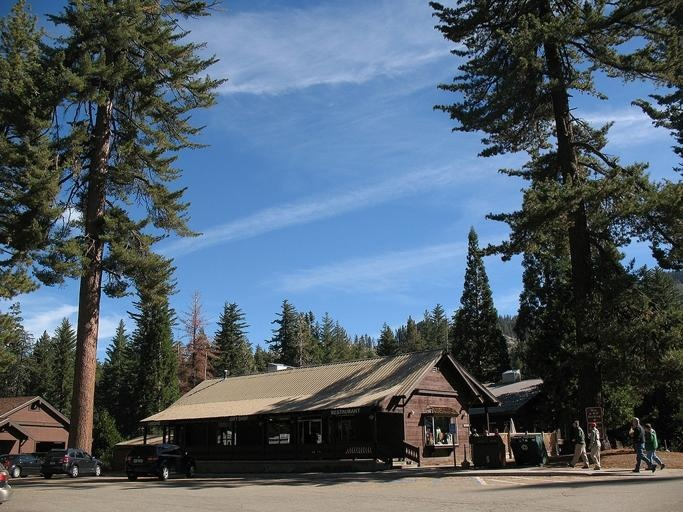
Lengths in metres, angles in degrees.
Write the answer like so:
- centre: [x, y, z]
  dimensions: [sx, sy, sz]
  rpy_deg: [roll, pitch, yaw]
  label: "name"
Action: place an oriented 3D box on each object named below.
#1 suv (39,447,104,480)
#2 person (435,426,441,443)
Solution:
- centre: [-16.232, 12.601, 46.221]
  dimensions: [2.048, 1.684, 3.673]
  rpy_deg: [-9, -12, 37]
  label: "suv"
- centre: [6.195, 11.407, 48.543]
  dimensions: [0.184, 0.925, 0.661]
  rpy_deg: [-12, -18, 28]
  label: "person"
